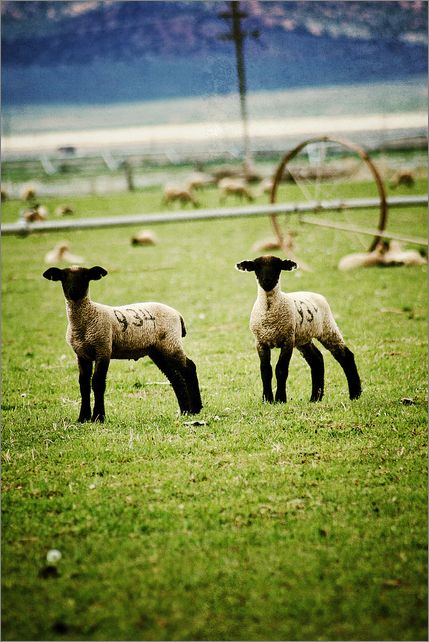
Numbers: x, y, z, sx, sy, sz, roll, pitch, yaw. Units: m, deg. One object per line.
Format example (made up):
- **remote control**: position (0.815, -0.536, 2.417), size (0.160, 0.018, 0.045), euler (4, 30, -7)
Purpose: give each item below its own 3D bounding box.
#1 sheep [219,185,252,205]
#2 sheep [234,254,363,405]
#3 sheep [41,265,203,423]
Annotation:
- **sheep**: position (0.167, -0.953, 6.315), size (0.213, 0.152, 0.421), euler (-2, 12, 6)
- **sheep**: position (0.691, 0.015, 7.104), size (0.982, 1.234, 0.900), euler (-7, 14, -15)
- **sheep**: position (-0.718, 0.137, 6.622), size (1.107, 1.196, 0.671), euler (-6, 14, -10)
